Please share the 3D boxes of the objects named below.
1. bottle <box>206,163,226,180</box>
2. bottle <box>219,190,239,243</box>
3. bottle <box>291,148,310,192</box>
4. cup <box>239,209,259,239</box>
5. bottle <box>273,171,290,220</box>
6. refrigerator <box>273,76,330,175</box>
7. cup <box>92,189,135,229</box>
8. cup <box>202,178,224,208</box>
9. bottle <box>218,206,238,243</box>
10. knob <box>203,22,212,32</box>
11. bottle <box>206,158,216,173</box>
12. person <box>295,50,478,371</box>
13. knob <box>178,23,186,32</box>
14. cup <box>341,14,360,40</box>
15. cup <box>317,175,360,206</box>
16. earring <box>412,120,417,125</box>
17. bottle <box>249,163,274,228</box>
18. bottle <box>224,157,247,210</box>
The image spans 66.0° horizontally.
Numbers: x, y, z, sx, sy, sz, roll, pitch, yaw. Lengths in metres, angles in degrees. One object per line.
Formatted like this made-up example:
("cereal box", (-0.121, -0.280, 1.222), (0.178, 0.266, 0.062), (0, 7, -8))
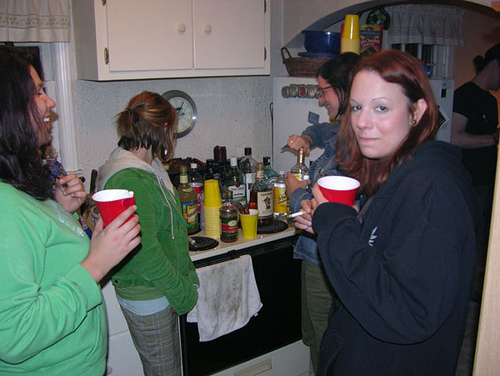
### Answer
("bottle", (-0.240, -0.133, 2.733), (0.136, 0.131, 0.076), (1, 1, -41))
("bottle", (-0.119, 0.161, 2.285), (0.136, 0.290, 0.142), (-3, 9, 0))
("bottle", (0.303, -0.103, 2.346), (0.110, 0.288, 0.108), (3, 11, -1))
("cup", (-0.001, 0.209, 2.355), (0.146, 0.177, 0.158), (-2, 4, 0))
("bottle", (0.197, 0.060, 2.506), (0.101, 0.297, 0.197), (-2, 9, 5))
("refrigerator", (0.467, -0.548, 3.019), (0.510, 0.769, 0.507), (-1, 17, 11))
("cup", (-0.441, 0.057, 1.269), (0.132, 0.107, 0.111), (-4, 9, -26))
("cup", (-0.228, 0.028, 2.334), (0.167, 0.168, 0.123), (-1, 9, 14))
("bottle", (-0.125, 0.205, 2.260), (0.110, 0.209, 0.068), (-4, 9, -5))
("knob", (-0.262, -1.018, 2.417), (0.063, 0.051, 0.021), (-11, 12, -43))
("bottle", (-0.285, -0.164, 2.774), (0.061, 0.088, 0.157), (-4, 9, -6))
("person", (0.403, 0.109, 1.154), (0.461, 1.039, 0.417), (5, 12, 39))
("knob", (-0.408, -0.980, 2.327), (0.022, 0.045, 0.049), (4, 11, 35))
("cup", (0.619, -0.993, 2.364), (0.109, 0.150, 0.075), (-2, 9, 3))
("cup", (0.283, -0.006, 1.241), (0.103, 0.073, 0.104), (-1, 16, 0))
("earring", (0.491, -0.202, 1.153), (0.016, 0.016, 0.004), (-1, -4, 5))
("bottle", (0.073, 0.036, 2.427), (0.146, 0.394, 0.097), (-7, 10, -24))
("bottle", (-0.102, -0.050, 2.656), (0.132, 0.345, 0.132), (-3, 26, 1))
